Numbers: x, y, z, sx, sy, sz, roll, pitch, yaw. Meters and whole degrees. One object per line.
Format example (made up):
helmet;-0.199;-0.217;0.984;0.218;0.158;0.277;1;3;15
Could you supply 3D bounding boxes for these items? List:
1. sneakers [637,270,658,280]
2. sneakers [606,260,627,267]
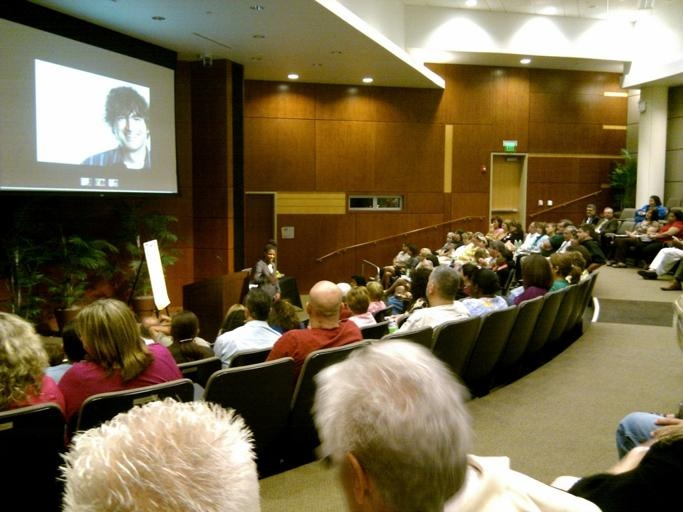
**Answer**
sneakers;4.974;0.287;8.372;0.157;0.124;0.353;9;-2;-21
sneakers;5.218;0.149;9.747;0.105;0.128;0.314;2;1;-36
